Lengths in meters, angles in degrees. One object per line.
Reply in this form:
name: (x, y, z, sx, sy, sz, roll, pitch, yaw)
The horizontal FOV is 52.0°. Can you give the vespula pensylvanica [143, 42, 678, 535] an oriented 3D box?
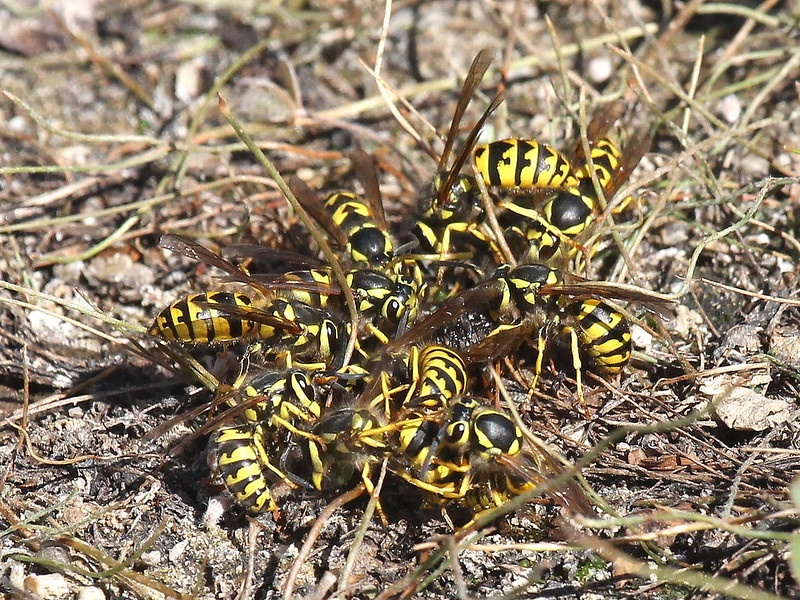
vespula pensylvanica: (0.080, 0.018, 3.809, 2.460, 1.040, 1.904, -40, 67, -19)
